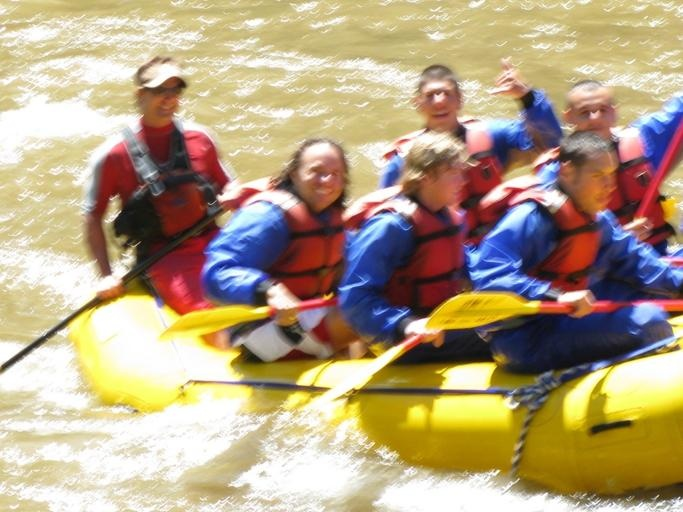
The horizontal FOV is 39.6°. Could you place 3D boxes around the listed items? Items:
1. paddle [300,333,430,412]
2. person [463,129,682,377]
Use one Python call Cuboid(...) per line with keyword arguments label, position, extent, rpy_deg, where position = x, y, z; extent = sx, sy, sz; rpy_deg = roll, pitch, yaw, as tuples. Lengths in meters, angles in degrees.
Cuboid(label="paddle", position=(0.115, 0.537, 4.285), extent=(0.654, 0.044, 0.114), rpy_deg=(-29, 38, -29))
Cuboid(label="person", position=(1.477, -0.042, 4.283), extent=(1.378, 0.930, 0.903), rpy_deg=(-3, 12, 28))
